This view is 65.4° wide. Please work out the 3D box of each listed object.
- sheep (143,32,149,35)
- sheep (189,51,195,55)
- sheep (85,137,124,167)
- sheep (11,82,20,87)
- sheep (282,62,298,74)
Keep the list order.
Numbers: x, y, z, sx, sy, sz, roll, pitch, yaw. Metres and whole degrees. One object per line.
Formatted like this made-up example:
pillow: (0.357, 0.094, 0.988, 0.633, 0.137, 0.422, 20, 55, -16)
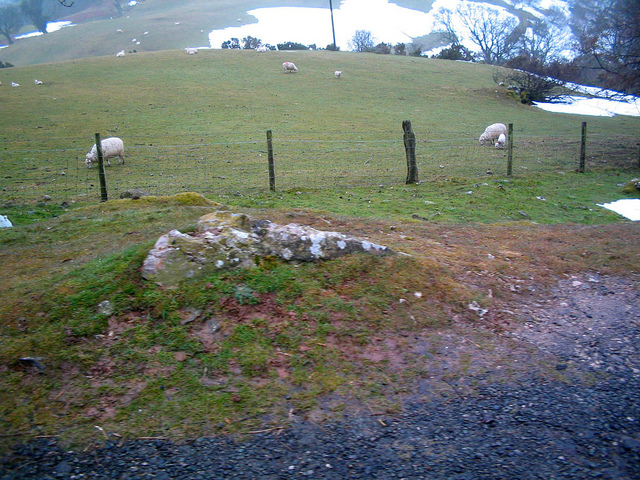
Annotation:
sheep: (-27.152, -32.446, 78.446, 0.547, 0.395, 1.209, -4, 13, -4)
sheep: (-11.679, -17.137, 45.779, 0.466, 0.396, 0.866, -6, 14, -11)
sheep: (-8.544, -3.490, 19.795, 1.560, 1.120, 1.431, -8, 16, -17)
sheep: (-19.781, -10.226, 32.759, 0.703, 0.188, 0.574, -11, 10, -23)
sheep: (-2.477, -14.267, 41.474, 0.845, 0.910, 1.235, 4, 16, 22)
